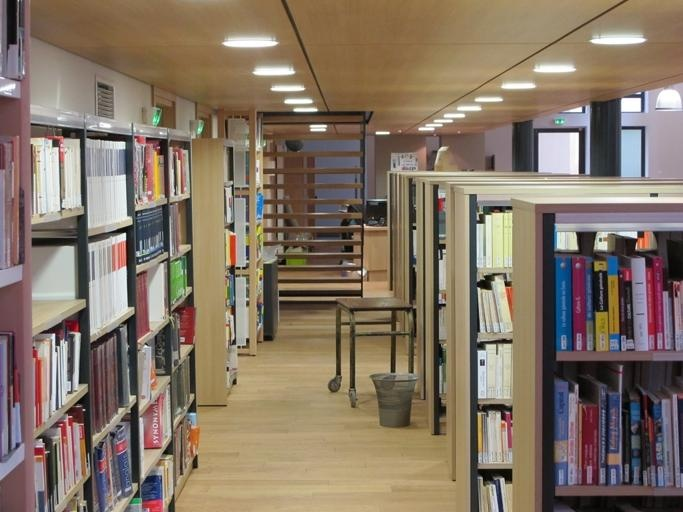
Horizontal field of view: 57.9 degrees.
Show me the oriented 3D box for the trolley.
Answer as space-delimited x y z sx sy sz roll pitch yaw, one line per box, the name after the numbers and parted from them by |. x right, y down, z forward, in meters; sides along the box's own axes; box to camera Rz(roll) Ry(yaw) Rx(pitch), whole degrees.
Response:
0.343 1.005 6.185 0.737 1.096 0.975 6 -3 -13 | trolley

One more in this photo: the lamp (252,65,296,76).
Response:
-0.547 -1.471 4.889 0.232 0.035 0.132 -2 6 -5 | lamp

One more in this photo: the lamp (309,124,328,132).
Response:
-0.457 -2.521 12.139 0.335 0.088 0.342 -1 2 -1 | lamp

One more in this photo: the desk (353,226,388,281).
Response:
0.686 -0.119 12.490 0.640 1.033 1.018 0 11 2 | desk

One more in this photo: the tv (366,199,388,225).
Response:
0.729 -0.870 12.508 0.528 0.584 0.418 1 4 7 | tv

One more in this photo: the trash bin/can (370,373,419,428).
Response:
0.448 1.239 5.325 0.383 0.372 0.400 2 -3 -33 | trash bin/can

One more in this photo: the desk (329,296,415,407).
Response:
0.437 0.859 6.323 1.087 1.188 0.777 1 2 -13 | desk
